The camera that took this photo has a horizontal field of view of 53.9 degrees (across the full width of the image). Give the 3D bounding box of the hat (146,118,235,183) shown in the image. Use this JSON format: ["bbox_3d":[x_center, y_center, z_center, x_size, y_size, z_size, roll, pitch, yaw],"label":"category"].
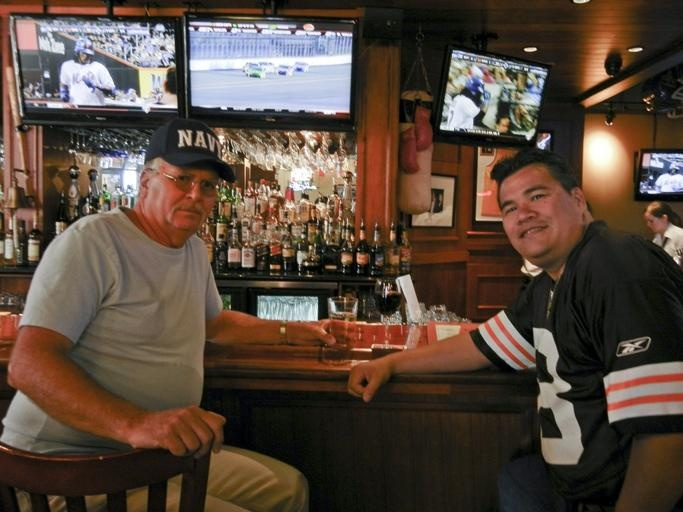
[{"bbox_3d":[-0.647,-0.464,2.854,0.292,0.203,0.412,7,-1,-39],"label":"hat"}]

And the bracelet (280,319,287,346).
[{"bbox_3d":[-0.262,0.346,3.029,0.031,0.090,0.097,1,-4,-2],"label":"bracelet"}]

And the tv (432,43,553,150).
[{"bbox_3d":[1.104,-1.139,4.984,1.016,0.690,0.111,0,15,-33],"label":"tv"}]

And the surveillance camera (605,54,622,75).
[{"bbox_3d":[2.442,-1.727,6.061,0.137,0.127,0.134,4,-1,-5],"label":"surveillance camera"}]

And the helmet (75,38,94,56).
[{"bbox_3d":[-1.717,-1.410,4.515,0.114,0.097,0.081,4,23,-1],"label":"helmet"}]

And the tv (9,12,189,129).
[{"bbox_3d":[-1.619,-1.269,4.534,1.202,0.744,0.129,2,12,-1],"label":"tv"}]
